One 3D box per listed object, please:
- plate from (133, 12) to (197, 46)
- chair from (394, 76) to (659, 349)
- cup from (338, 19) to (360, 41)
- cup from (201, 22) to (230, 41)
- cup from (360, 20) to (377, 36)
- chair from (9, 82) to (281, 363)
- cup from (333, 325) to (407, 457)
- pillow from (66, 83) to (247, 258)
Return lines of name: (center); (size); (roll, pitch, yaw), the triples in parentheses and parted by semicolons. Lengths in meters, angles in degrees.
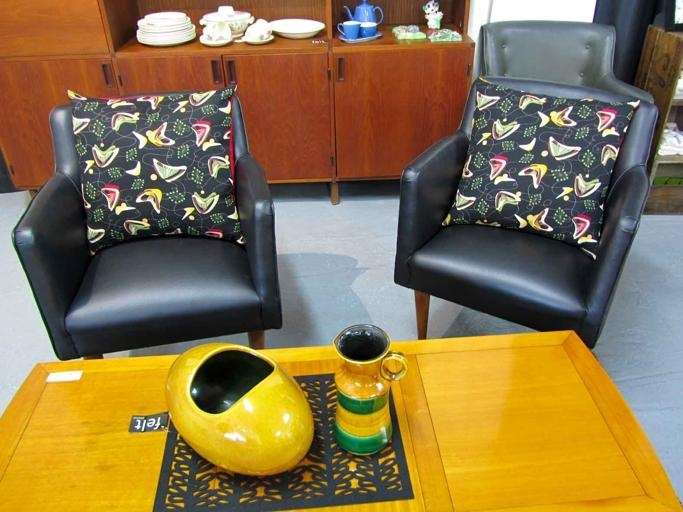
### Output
plate: (-1.007, -1.299, 2.806); (0.321, 0.168, 0.160); (-12, 32, -16)
chair: (0.754, -0.134, 2.054); (0.860, 0.921, 0.812); (15, 41, 27)
cup: (0.046, -1.326, 2.873); (0.135, 0.095, 0.135); (-2, 30, 1)
cup: (-0.711, -1.278, 2.780); (0.124, 0.109, 0.056); (-20, -8, -4)
cup: (0.159, -1.336, 2.852); (0.091, 0.060, 0.080); (8, 44, 11)
chair: (-0.711, -0.064, 2.023); (0.863, 1.005, 0.865); (-5, 30, -11)
cup: (0.069, 0.336, 1.237); (0.176, 0.319, 0.161); (-2, 31, 1)
pillow: (-0.734, -0.309, 1.921); (0.646, 0.592, 0.277); (-5, 32, -4)
